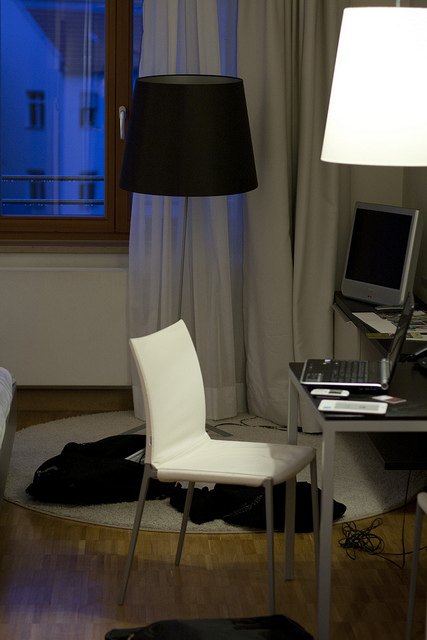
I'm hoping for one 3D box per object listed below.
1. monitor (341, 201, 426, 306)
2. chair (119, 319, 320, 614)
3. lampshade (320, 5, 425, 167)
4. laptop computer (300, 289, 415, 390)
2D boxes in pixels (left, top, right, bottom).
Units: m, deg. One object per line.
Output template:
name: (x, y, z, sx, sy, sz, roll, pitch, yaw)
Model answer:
monitor: (0.928, -0.341, 2.576, 0.140, 0.577, 0.457, 0, 9, -23)
chair: (0.121, 0.259, 1.678, 0.583, 1.361, 0.590, 0, 3, 18)
lampshade: (0.303, -0.466, 0.947, 0.112, 0.299, 0.266, -7, 19, -30)
laptop computer: (0.401, 0.029, 1.300, 0.206, 0.237, 0.257, 3, 12, 10)
